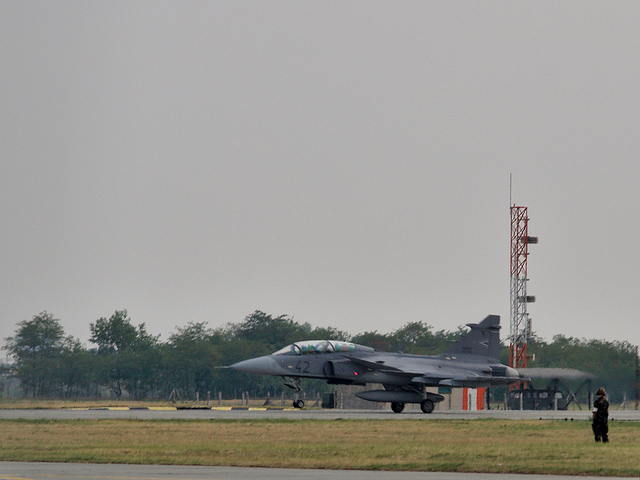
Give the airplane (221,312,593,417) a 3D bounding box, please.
[{"bbox_3d":[8.508,9.023,108.847,15.834,6.710,34.806,-2,-3,22],"label":"airplane"}]
